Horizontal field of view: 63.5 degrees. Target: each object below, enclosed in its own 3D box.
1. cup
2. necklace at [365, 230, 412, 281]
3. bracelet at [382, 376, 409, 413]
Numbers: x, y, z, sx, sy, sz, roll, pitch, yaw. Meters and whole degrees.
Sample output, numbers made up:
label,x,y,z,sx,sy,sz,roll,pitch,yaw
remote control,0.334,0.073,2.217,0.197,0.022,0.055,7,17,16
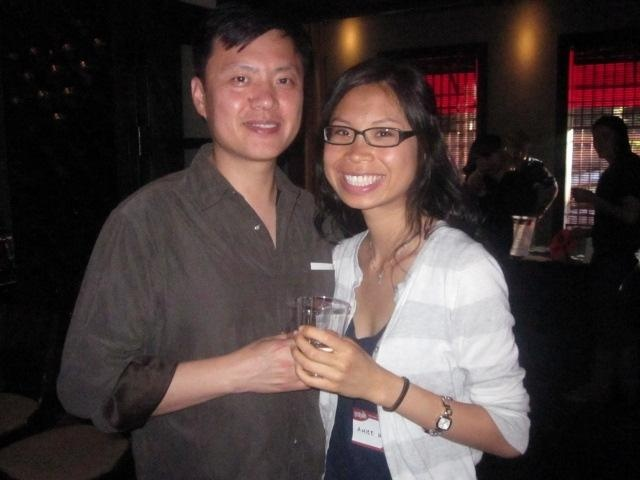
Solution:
label,x,y,z,sx,sy,sz,roll,pitch,yaw
cup,0.016,0.291,1.931,0.199,0.155,0.148,-1,6,-1
necklace,0.293,0.089,2.294,0.146,0.248,0.130,8,-18,35
bracelet,0.306,0.578,1.959,0.026,0.113,0.113,30,-18,5
